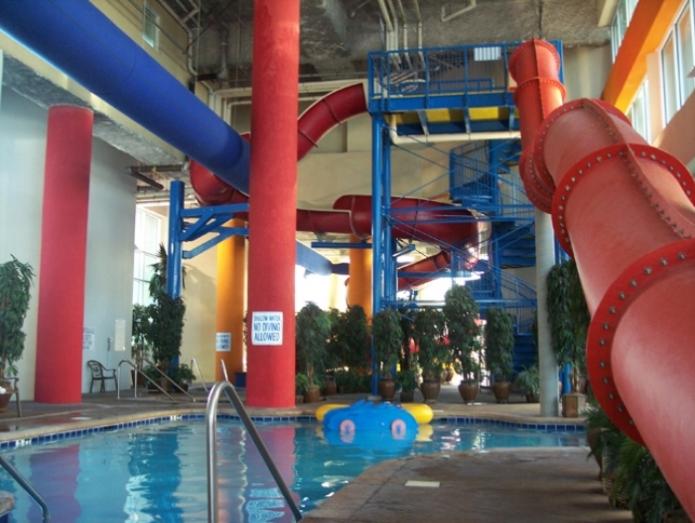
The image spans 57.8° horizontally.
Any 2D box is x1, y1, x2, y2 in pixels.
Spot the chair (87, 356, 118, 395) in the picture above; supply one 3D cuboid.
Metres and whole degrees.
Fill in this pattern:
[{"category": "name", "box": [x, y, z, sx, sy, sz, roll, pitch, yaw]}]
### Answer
[{"category": "chair", "box": [-6.063, 2.853, 15.660, 0.561, 0.839, 0.533, -10, -11, 28]}]
